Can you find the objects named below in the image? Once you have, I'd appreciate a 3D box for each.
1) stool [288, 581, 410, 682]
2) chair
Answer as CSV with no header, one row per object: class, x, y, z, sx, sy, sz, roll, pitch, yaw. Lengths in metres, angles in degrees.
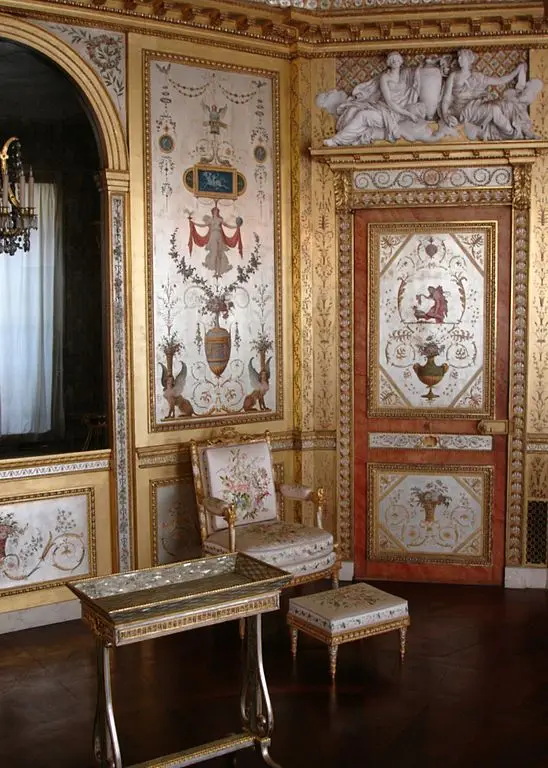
stool,0.357,1.156,3.736,0.505,0.312,0.402,-2,3,-32
chair,-0.046,0.763,4.355,0.682,0.878,0.720,-6,10,-43
